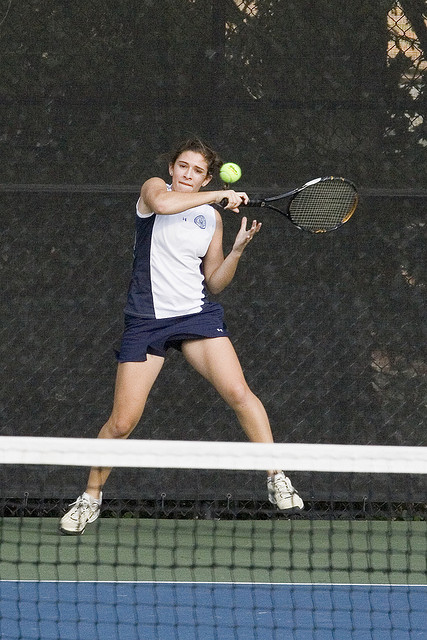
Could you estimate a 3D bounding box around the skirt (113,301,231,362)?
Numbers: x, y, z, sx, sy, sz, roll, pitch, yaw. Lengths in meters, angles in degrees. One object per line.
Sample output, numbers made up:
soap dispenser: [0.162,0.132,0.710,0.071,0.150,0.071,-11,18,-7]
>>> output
skirt: [-0.138,0.023,2.682,0.405,0.179,0.148,-10,16,-3]

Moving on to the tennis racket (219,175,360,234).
tennis racket: [0.294,-0.499,3.124,0.806,0.060,0.252,15,81,47]

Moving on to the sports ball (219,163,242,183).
sports ball: [0.067,-0.569,2.878,0.079,0.072,0.075,1,10,0]
